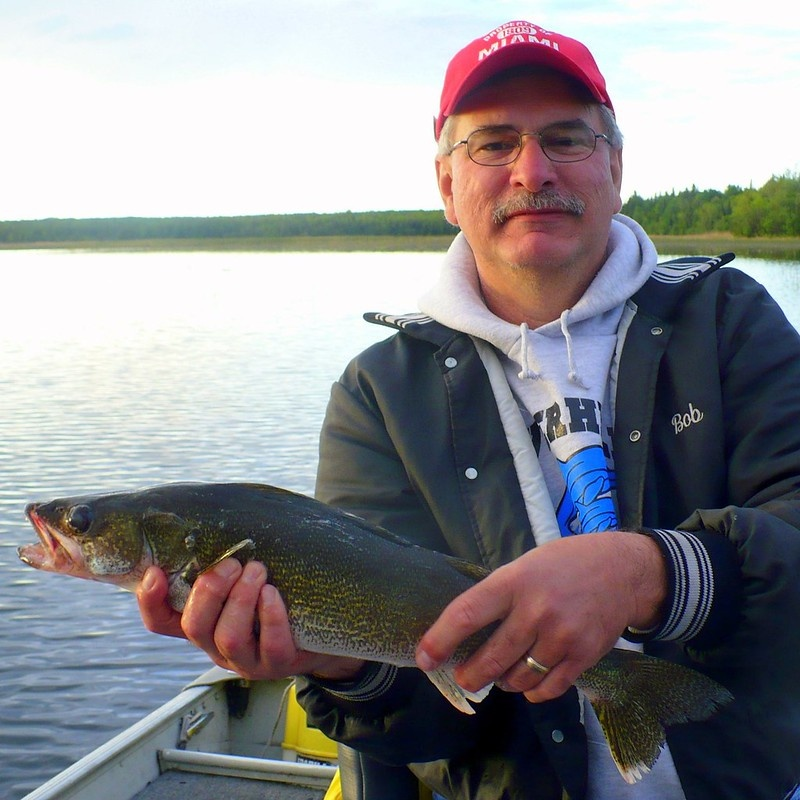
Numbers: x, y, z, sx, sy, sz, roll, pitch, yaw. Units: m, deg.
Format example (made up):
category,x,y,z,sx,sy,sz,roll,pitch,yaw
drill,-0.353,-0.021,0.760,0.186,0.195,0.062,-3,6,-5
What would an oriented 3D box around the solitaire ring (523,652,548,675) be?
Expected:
category,x,y,z,sx,sy,sz,roll,pitch,yaw
solitaire ring,0.355,0.688,2.278,0.058,0.019,0.055,32,10,-6
